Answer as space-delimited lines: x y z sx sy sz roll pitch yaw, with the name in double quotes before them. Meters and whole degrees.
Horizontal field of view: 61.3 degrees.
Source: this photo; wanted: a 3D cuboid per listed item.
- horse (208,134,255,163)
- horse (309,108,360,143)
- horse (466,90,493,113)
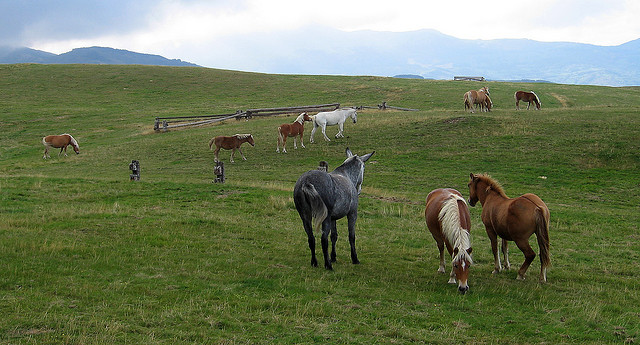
"horse" -8.270 -2.245 50.315 4.954 2.524 1.063 -3 -2 -41
"horse" 1.430 -4.917 54.659 6.115 3.201 1.436 -8 12 -33
"horse" 17.137 -7.767 59.111 5.187 2.300 1.328 -1 3 -43
